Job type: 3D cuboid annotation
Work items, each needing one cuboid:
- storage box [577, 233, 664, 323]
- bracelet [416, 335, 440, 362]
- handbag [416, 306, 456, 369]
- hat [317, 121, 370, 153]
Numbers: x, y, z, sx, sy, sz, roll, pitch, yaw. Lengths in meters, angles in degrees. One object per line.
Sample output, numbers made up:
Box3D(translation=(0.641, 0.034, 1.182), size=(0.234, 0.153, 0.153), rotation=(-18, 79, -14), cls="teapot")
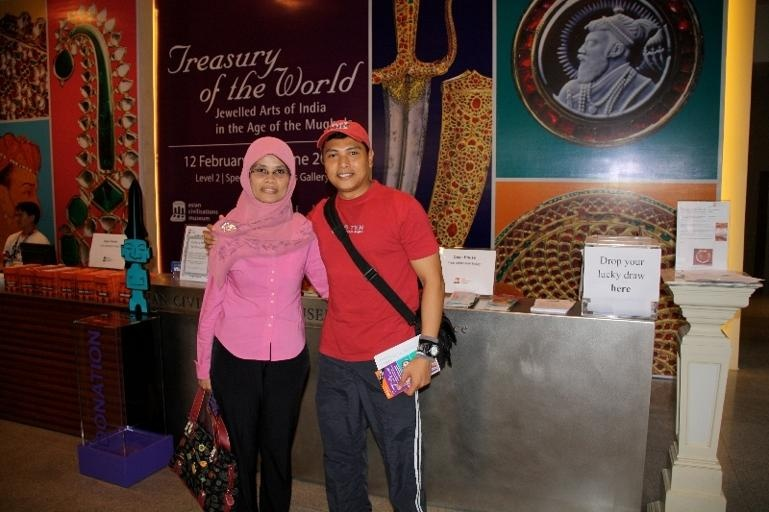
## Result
Box3D(translation=(1.506, 0.117, 3.523), size=(0.493, 0.490, 0.485), rotation=(6, 5, 25), cls="storage box")
Box3D(translation=(0.253, 0.510, 3.129), size=(0.143, 0.104, 0.153), rotation=(7, -37, 5), cls="bracelet")
Box3D(translation=(0.337, 0.487, 3.246), size=(0.251, 0.337, 0.155), rotation=(-2, 7, 31), cls="handbag")
Box3D(translation=(-0.239, -0.722, 3.212), size=(0.270, 0.181, 0.185), rotation=(2, 2, 32), cls="hat")
